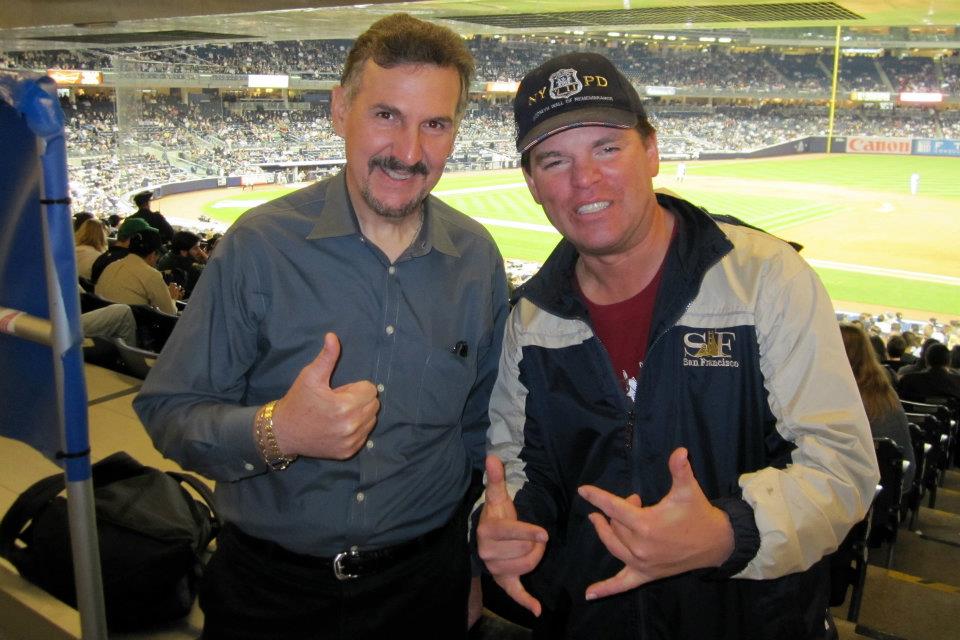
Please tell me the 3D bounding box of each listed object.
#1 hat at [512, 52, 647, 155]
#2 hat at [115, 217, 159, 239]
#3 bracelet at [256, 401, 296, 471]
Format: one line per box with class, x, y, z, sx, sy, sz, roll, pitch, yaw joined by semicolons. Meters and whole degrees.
hat;0.290;-0.722;2.337;0.428;0.292;0.583;-11;10;8
hat;-3.233;-0.874;6.719;0.578;0.166;0.367;-7;12;-24
bracelet;-0.617;0.347;2.170;0.065;0.178;0.150;-10;6;3
